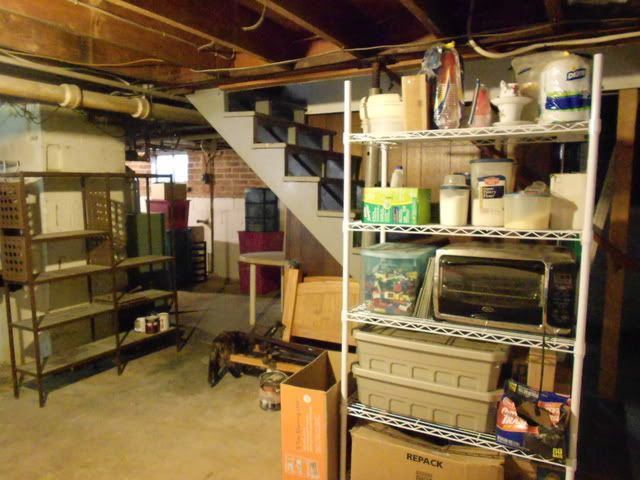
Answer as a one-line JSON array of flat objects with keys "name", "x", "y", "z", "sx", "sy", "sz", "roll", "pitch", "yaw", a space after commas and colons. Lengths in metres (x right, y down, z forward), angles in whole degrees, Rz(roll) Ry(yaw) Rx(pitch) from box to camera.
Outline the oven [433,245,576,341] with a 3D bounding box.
[{"name": "oven", "x": 1.013, "y": 0.257, "z": 2.964, "sx": 0.756, "sy": 0.427, "sz": 0.486, "roll": 3, "pitch": 5, "yaw": 22}]

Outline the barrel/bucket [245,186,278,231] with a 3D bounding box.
[{"name": "barrel/bucket", "x": -0.808, "y": -0.423, "z": 7.362, "sx": 0.471, "sy": 0.611, "sz": 0.293, "roll": -1, "pitch": 6, "yaw": -10}]

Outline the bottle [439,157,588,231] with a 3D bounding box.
[{"name": "bottle", "x": 1.066, "y": -0.242, "z": 2.758, "sx": 0.552, "sy": 0.360, "sz": 0.184, "roll": 1, "pitch": 6, "yaw": 12}]
